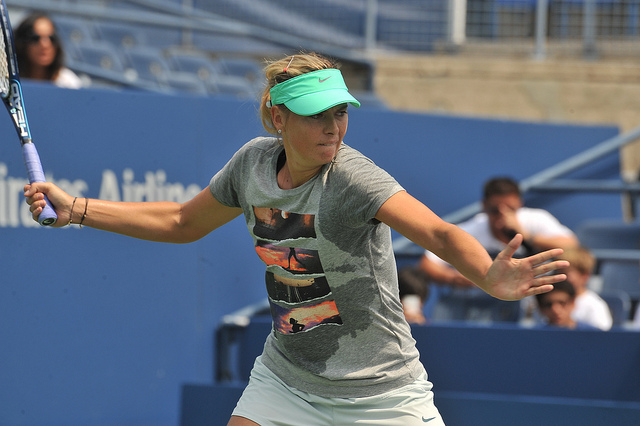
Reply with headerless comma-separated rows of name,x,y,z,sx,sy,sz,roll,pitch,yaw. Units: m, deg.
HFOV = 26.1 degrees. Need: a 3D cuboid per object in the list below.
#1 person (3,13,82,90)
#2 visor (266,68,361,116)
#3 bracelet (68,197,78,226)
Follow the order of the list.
person,-2.433,-1.314,12.028,0.779,0.428,0.735,-1,3,-23
visor,-0.047,-0.801,9.579,0.610,0.338,0.225,0,-3,-3
bracelet,-1.799,0.020,10.056,0.034,0.259,0.038,9,-17,-13
